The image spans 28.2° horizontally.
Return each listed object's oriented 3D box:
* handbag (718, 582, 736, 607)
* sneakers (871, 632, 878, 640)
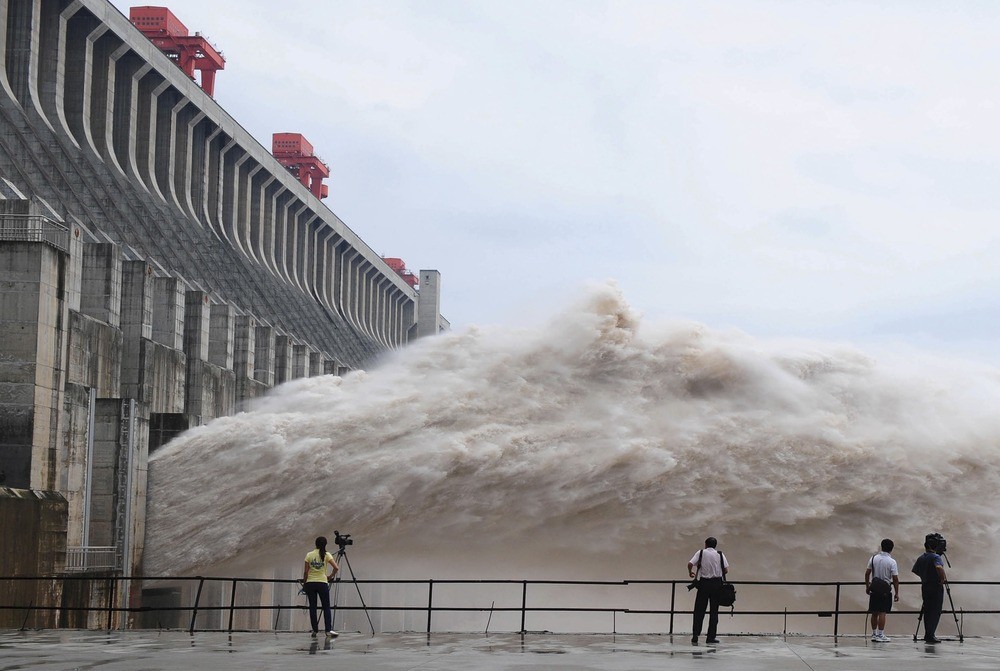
[{"bbox_3d":[7.627,8.750,67.342,0.497,0.751,0.400,-1,-13,5],"label":"handbag"},{"bbox_3d":[12.933,10.398,68.463,0.300,0.262,0.276,2,-11,-16],"label":"sneakers"}]
